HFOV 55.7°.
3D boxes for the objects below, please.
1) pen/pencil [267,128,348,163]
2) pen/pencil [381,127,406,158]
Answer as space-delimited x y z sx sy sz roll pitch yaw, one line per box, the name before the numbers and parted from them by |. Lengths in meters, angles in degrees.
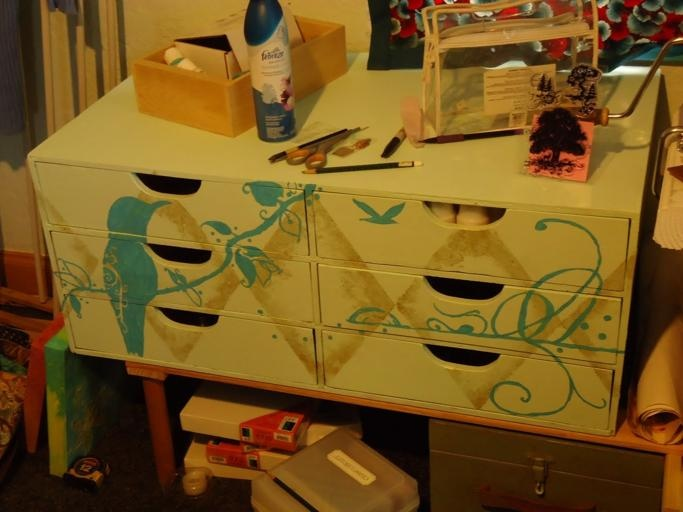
pen/pencil | -0.072 -0.223 1.309 0.178 0.021 0.012 -24 77 -24
pen/pencil | 0.106 -0.229 1.311 0.015 0.018 0.092 20 49 14
